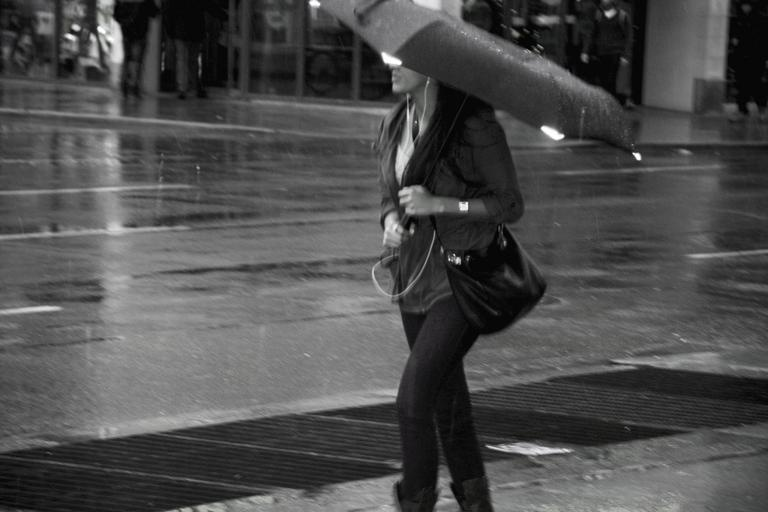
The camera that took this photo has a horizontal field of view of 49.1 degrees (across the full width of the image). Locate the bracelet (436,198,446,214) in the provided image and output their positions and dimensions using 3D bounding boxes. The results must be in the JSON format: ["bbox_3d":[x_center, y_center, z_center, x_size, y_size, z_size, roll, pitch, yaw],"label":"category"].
[{"bbox_3d":[0.230,-0.203,3.442,0.042,0.053,0.014,-1,7,-5],"label":"bracelet"}]
